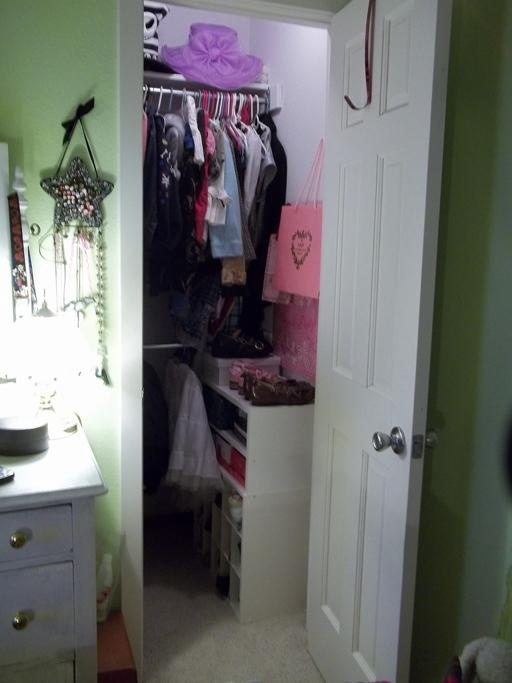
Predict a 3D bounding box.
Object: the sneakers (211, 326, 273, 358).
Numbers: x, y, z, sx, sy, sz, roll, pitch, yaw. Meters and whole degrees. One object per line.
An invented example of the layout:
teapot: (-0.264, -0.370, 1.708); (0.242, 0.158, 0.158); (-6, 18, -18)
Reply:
sneakers: (-0.068, 0.014, 2.480); (0.211, 0.144, 0.152); (-1, 11, -14)
